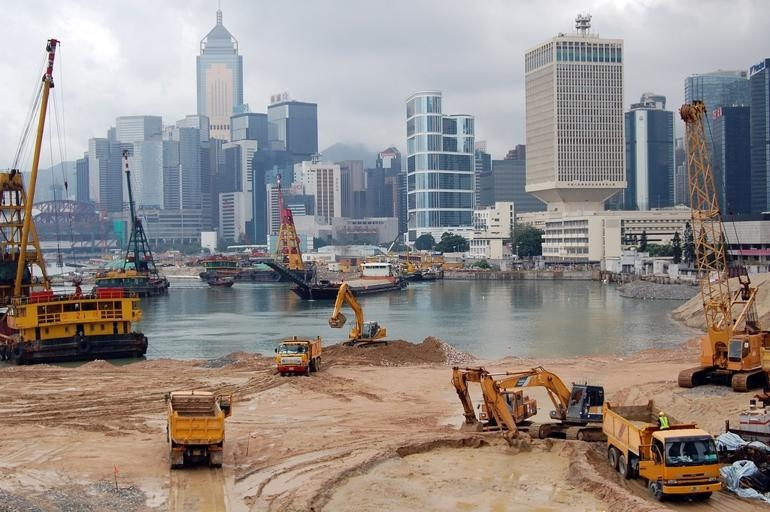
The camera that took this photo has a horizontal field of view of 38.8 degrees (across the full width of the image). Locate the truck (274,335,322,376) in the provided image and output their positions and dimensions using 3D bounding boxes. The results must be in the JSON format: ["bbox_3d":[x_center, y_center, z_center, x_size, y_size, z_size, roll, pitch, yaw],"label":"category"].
[{"bbox_3d":[-4.593,5.455,59.536,1.593,1.333,2.535,-2,-1,30],"label":"truck"}]

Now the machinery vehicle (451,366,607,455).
[{"bbox_3d":[6.695,6.626,49.352,6.280,2.621,1.561,-2,-1,6],"label":"machinery vehicle"}]

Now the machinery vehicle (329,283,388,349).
[{"bbox_3d":[-1.497,3.691,67.042,1.734,3.472,5.412,7,0,31],"label":"machinery vehicle"}]
